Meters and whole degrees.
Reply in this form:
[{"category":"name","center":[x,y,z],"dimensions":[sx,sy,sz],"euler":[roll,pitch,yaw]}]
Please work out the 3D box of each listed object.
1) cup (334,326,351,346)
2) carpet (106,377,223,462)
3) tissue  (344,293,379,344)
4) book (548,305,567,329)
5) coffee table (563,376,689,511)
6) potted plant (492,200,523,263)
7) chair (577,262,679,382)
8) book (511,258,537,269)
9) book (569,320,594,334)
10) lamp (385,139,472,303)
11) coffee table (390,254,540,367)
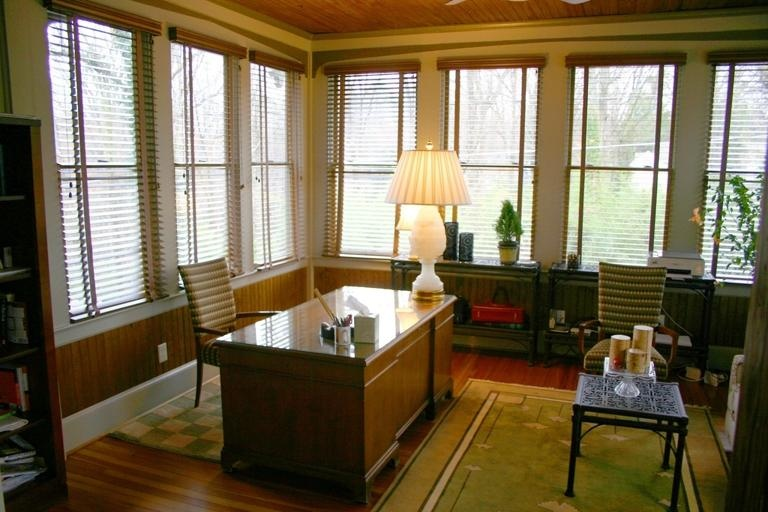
[{"category":"cup","center":[-0.288,0.568,4.135],"dimensions":[0.137,0.112,0.105],"euler":[2,5,2]},{"category":"carpet","center":[-1.656,1.433,4.897],"dimensions":[0.998,0.119,0.715],"euler":[4,9,19]},{"category":"tissue ","center":[-0.130,0.415,4.332],"dimensions":[0.276,0.452,0.465],"euler":[0,5,9]},{"category":"book","center":[1.862,0.663,6.230],"dimensions":[0.258,0.247,0.185],"euler":[3,13,18]},{"category":"coffee table","center":[1.818,1.315,4.366],"dimensions":[0.892,0.665,0.904],"euler":[3,10,19]},{"category":"potted plant","center":[1.383,-0.272,6.318],"dimensions":[0.359,0.670,0.269],"euler":[-7,12,-40]},{"category":"chair","center":[2.164,0.733,5.108],"dimensions":[0.811,1.158,0.812],"euler":[4,10,24]},{"category":"book","center":[1.538,0.082,6.276],"dimensions":[0.291,0.078,0.392],"euler":[3,9,13]},{"category":"book","center":[1.980,0.709,5.789],"dimensions":[0.190,0.043,0.193],"euler":[-2,8,38]},{"category":"lamp","center":[0.394,-0.297,5.073],"dimensions":[0.633,1.329,0.500],"euler":[-6,11,-34]},{"category":"coffee table","center":[0.887,0.546,5.851],"dimensions":[1.202,0.691,0.380],"euler":[2,7,17]}]
